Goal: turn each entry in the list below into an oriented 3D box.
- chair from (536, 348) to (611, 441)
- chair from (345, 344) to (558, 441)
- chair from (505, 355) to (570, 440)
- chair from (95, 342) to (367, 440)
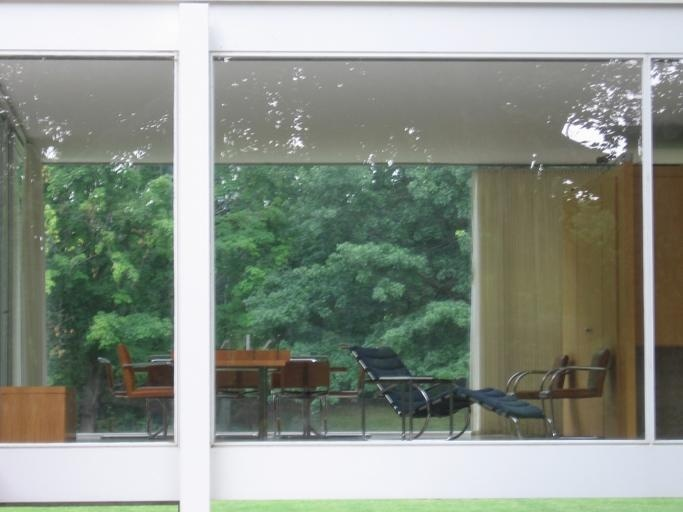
[{"bbox_3d":[1.709,1.049,10.556,0.518,0.712,0.633,0,-10,2],"label":"chair"},{"bbox_3d":[0.759,0.955,10.160,1.065,0.558,0.769,-3,-9,17],"label":"chair"},{"bbox_3d":[1.524,1.067,11.062,0.507,0.761,0.469,4,-12,-4],"label":"chair"},{"bbox_3d":[-0.757,0.921,9.940,1.880,0.724,0.464,-1,-7,-11],"label":"chair"}]
